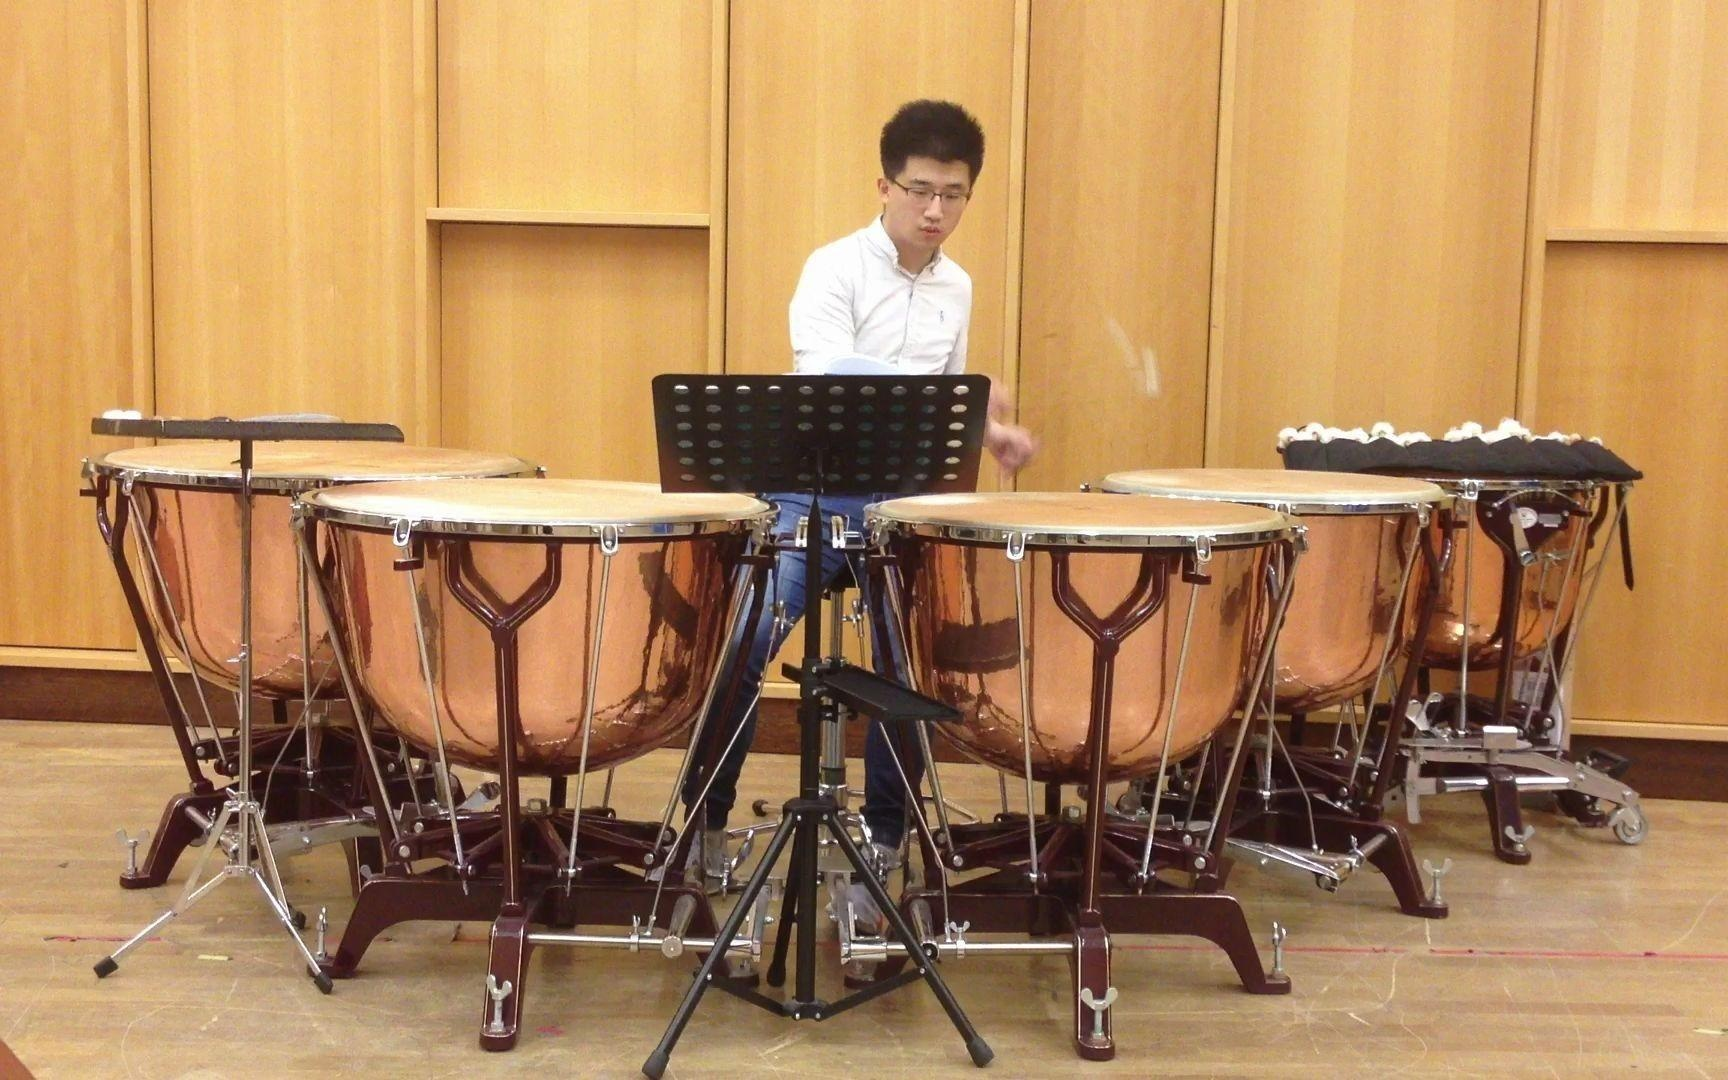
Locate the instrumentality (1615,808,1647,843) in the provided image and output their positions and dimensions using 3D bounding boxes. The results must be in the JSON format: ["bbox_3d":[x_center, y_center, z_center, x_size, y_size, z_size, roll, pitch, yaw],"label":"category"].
[{"bbox_3d":[2.285,0.850,6.331,0.083,0.090,0.035,-24,-3,3],"label":"instrumentality"}]

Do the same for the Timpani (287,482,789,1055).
[{"bbox_3d":[-1.113,0.554,5.753,1.460,1.344,1.384,-4,6,-40],"label":"Timpani"}]

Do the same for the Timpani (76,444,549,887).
[{"bbox_3d":[-1.672,0.364,6.322,1.309,1.294,1.320,3,0,35],"label":"Timpani"}]

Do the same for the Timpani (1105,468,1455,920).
[{"bbox_3d":[0.997,0.366,6.351,1.028,1.180,1.253,2,1,1],"label":"Timpani"}]

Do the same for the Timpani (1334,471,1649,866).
[{"bbox_3d":[1.908,0.287,6.524,0.895,1.124,1.029,2,8,15],"label":"Timpani"}]

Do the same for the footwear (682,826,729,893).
[{"bbox_3d":[-0.422,0.878,5.760,0.126,0.159,0.172,1,-6,-1],"label":"footwear"}]

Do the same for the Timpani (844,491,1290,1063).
[{"bbox_3d":[0.512,0.521,5.928,1.327,1.247,1.367,2,2,32],"label":"Timpani"}]

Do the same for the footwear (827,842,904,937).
[{"bbox_3d":[-0.003,0.947,5.667,0.261,0.255,0.152,-1,1,-25],"label":"footwear"}]

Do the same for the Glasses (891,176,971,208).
[{"bbox_3d":[0.184,-0.975,5.959,0.212,0.072,0.095,-1,9,-1],"label":"Glasses"}]
